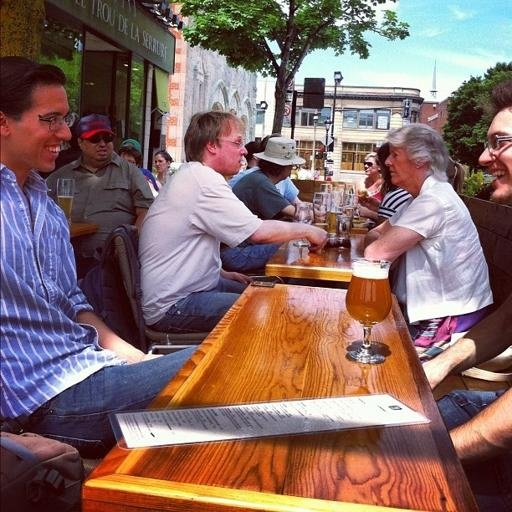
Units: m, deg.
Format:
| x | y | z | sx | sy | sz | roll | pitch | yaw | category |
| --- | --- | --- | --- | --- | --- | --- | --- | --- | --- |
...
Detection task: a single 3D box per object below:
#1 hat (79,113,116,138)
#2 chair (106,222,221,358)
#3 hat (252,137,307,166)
| x | y | z | sx | sy | sz | roll | pitch | yaw | category |
| --- | --- | --- | --- | --- | --- | --- | --- | --- | --- |
| -1.874 | -1.486 | 4.938 | 0.309 | 0.191 | 0.393 | -1 | 1 | -23 | hat |
| -0.499 | 0.233 | 2.890 | 0.869 | 0.850 | 0.803 | -1 | 5 | -13 | chair |
| 0.231 | -1.356 | 5.536 | 0.501 | 0.202 | 0.539 | 25 | 31 | 37 | hat |
